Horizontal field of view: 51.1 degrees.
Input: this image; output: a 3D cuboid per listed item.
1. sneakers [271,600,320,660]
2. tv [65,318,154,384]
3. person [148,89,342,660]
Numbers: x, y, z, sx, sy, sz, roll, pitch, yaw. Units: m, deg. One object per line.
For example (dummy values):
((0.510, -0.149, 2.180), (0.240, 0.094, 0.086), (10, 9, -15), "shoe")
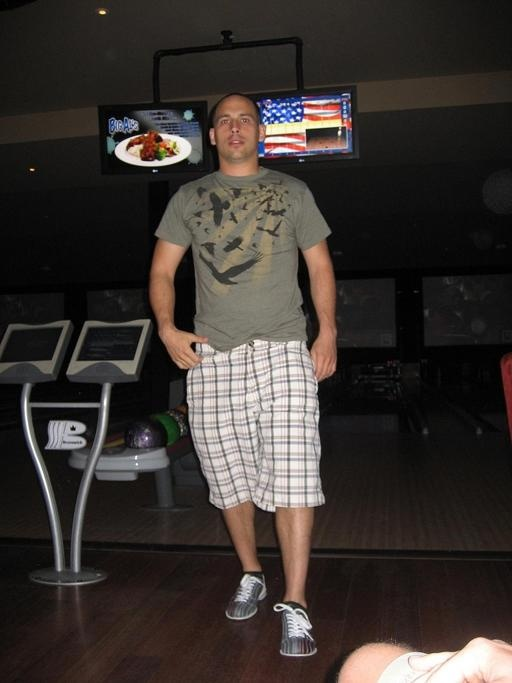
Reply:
((0.099, 0.689, 1.274), (0.086, 0.105, 0.089), (-2, 13, 3), "sneakers")
((-0.530, 0.046, 1.959), (0.283, 0.221, 0.287), (-2, 13, 4), "tv")
((0.030, 0.010, 1.448), (0.462, 1.352, 0.664), (-13, 16, -36), "person")
